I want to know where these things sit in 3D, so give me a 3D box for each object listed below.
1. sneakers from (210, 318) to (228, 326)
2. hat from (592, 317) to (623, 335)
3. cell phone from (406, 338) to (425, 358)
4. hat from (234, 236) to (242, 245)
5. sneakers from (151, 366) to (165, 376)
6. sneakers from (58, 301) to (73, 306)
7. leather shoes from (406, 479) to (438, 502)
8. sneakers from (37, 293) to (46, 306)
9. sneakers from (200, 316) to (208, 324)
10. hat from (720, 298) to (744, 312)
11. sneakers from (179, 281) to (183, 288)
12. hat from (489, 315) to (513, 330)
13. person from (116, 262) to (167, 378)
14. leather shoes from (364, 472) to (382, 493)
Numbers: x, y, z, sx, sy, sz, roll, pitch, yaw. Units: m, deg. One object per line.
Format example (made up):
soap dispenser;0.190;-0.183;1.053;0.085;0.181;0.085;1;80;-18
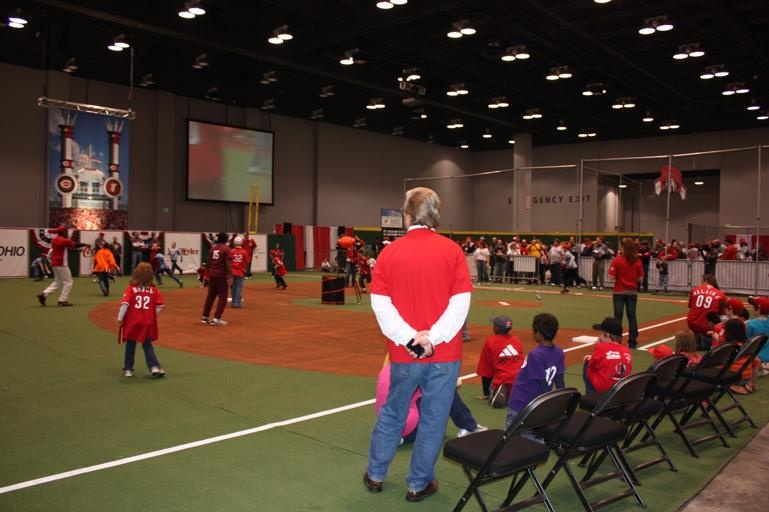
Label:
sneakers;-4.241;1.682;14.509;0.439;0.195;0.188;0;1;-12
hat;3.232;1.009;8.203;0.392;0.202;0.282;5;3;40
cell phone;0.357;1.043;6.386;0.216;0.156;0.063;32;-42;-21
hat;-4.378;-0.465;16.882;0.185;0.121;0.251;-3;1;-42
sneakers;-4.030;2.053;10.021;0.117;0.128;0.282;-3;-9;-18
sneakers;-9.612;1.417;16.936;0.428;0.176;0.153;1;1;-17
leather shoes;0.466;2.811;6.818;0.425;0.181;0.166;-9;11;-44
sneakers;-10.272;1.289;16.876;0.160;0.392;0.177;3;44;-11
sneakers;-4.610;1.632;14.521;0.184;0.192;0.237;0;4;-22
hat;6.708;0.940;10.882;0.296;0.237;0.443;-1;14;7
sneakers;-8.278;1.169;22.859;0.196;0.219;0.526;-4;-20;-17
hat;1.819;1.050;8.833;0.262;0.199;0.348;4;21;-6
person;-4.394;1.112;10.218;0.745;2.029;0.892;0;4;-25
leather shoes;-0.147;2.767;6.925;0.125;0.145;0.330;1;4;-10
